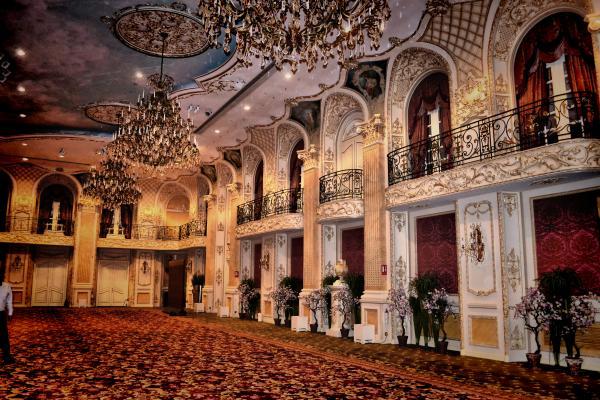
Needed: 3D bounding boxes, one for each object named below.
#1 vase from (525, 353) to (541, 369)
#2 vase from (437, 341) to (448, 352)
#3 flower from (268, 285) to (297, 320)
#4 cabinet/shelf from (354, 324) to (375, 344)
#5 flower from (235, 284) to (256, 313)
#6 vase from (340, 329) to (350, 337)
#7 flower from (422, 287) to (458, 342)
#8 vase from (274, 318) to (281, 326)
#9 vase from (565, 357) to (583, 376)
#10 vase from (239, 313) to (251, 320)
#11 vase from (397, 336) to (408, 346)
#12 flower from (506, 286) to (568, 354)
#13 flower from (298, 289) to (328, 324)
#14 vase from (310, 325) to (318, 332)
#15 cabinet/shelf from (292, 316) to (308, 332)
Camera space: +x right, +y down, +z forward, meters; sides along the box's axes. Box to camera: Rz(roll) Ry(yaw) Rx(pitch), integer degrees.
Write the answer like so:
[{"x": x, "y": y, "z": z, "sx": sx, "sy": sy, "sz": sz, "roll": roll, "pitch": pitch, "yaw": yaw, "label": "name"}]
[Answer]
[{"x": 5.392, "y": 3.684, "z": 10.184, "sx": 0.296, "sy": 0.277, "sz": 0.308, "roll": 0, "pitch": -17, "yaw": -5, "label": "vase"}, {"x": 3.897, "y": 3.919, "z": 11.983, "sx": 0.383, "sy": 0.283, "sz": 0.231, "roll": 8, "pitch": -17, "yaw": -23, "label": "vase"}, {"x": -0.587, "y": 3.895, "z": 16.996, "sx": 1.202, "sy": 1.311, "sz": 0.869, "roll": 2, "pitch": -10, "yaw": -27, "label": "flower"}, {"x": 1.908, "y": 3.935, "z": 13.278, "sx": 0.533, "sy": 0.553, "sz": 0.542, "roll": 1, "pitch": -3, "yaw": -12, "label": "cabinet/shelf"}, {"x": -2.363, "y": 4.239, "z": 19.157, "sx": 0.555, "sy": 1.276, "sz": 1.369, "roll": 13, "pitch": -19, "yaw": -36, "label": "flower"}, {"x": 1.420, "y": 4.230, "z": 14.181, "sx": 0.242, "sy": 0.196, "sz": 0.253, "roll": 1, "pitch": -6, "yaw": 9, "label": "vase"}, {"x": 3.861, "y": 3.119, "z": 12.175, "sx": 0.964, "sy": 1.425, "sz": 0.644, "roll": 13, "pitch": -19, "yaw": -36, "label": "flower"}, {"x": -0.874, "y": 4.652, "z": 17.038, "sx": 0.222, "sy": 0.172, "sz": 0.226, "roll": -1, "pitch": -13, "yaw": 4, "label": "vase"}, {"x": 5.977, "y": 3.564, "z": 9.577, "sx": 0.330, "sy": 0.305, "sz": 0.338, "roll": 0, "pitch": -18, "yaw": -5, "label": "vase"}, {"x": -2.393, "y": 4.958, "z": 19.007, "sx": 0.651, "sy": 0.245, "sz": 0.292, "roll": -6, "pitch": -17, "yaw": 26, "label": "vase"}, {"x": 2.961, "y": 4.013, "z": 12.742, "sx": 0.272, "sy": 0.213, "sz": 0.271, "roll": 0, "pitch": -16, "yaw": -1, "label": "vase"}, {"x": 5.604, "y": 2.847, "z": 10.417, "sx": 1.089, "sy": 1.637, "sz": 1.240, "roll": -5, "pitch": -16, "yaw": -25, "label": "flower"}, {"x": 0.635, "y": 3.757, "z": 15.484, "sx": 0.821, "sy": 1.112, "sz": 0.969, "roll": 17, "pitch": -4, "yaw": -23, "label": "flower"}, {"x": 0.469, "y": 4.380, "z": 15.247, "sx": 0.238, "sy": 0.198, "sz": 0.241, "roll": 0, "pitch": -13, "yaw": -1, "label": "vase"}, {"x": 0.004, "y": 4.314, "z": 15.530, "sx": 0.491, "sy": 0.520, "sz": 0.493, "roll": 6, "pitch": -13, "yaw": -26, "label": "cabinet/shelf"}]
